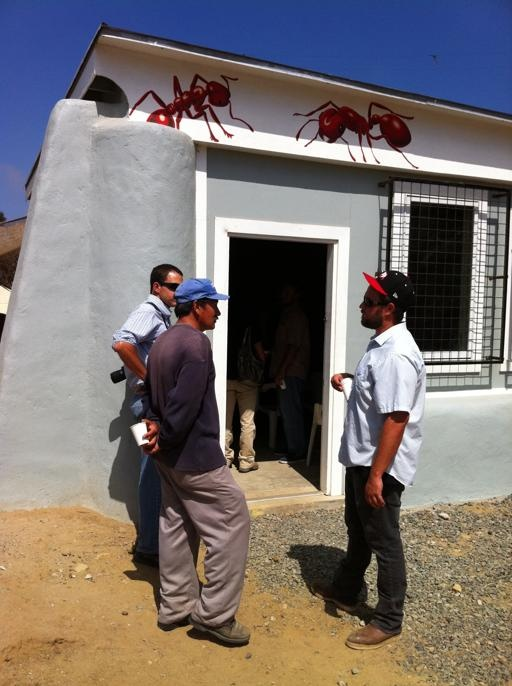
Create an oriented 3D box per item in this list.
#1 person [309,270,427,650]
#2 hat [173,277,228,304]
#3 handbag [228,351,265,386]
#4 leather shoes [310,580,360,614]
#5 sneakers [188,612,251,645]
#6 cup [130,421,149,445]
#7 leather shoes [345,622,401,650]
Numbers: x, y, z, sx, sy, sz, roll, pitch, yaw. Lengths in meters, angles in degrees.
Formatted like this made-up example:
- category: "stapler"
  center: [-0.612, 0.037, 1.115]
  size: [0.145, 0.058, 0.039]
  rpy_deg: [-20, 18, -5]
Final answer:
- category: "person"
  center: [0.649, 0.603, 2.910]
  size: [0.450, 1.717, 0.605]
  rpy_deg: [9, 4, -6]
- category: "hat"
  center: [-0.250, -0.254, 2.680]
  size: [0.209, 0.094, 0.125]
  rpy_deg: [-2, 14, -18]
- category: "handbag"
  center: [-0.064, 0.294, 5.930]
  size: [0.509, 0.302, 0.449]
  rpy_deg: [3, -2, -28]
- category: "leather shoes"
  center: [0.452, 1.495, 3.338]
  size: [0.115, 0.116, 0.302]
  rpy_deg: [-10, 28, -45]
- category: "sneakers"
  center: [-0.150, 1.392, 2.774]
  size: [0.342, 0.152, 0.133]
  rpy_deg: [9, 19, -6]
- category: "cup"
  center: [-0.533, 0.422, 2.569]
  size: [0.072, 0.080, 0.177]
  rpy_deg: [8, 4, -17]
- category: "leather shoes"
  center: [0.577, 1.486, 2.833]
  size: [0.286, 0.101, 0.111]
  rpy_deg: [0, -2, -9]
